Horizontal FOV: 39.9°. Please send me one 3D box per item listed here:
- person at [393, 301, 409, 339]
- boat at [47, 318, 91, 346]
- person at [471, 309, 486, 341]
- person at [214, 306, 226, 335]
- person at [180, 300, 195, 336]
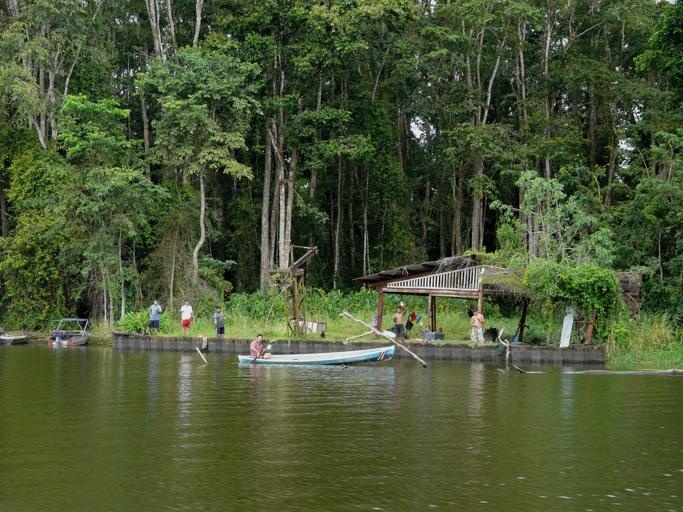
[{"bbox_3d":[3.042,3.286,48.639,0.676,1.756,1.547,-2,4,3],"label":"person"},{"bbox_3d":[-15.695,4.577,55.261,1.436,1.081,2.780,1,0,-1],"label":"boat"},{"bbox_3d":[6.803,3.441,46.916,0.607,1.580,1.736,-1,4,8],"label":"person"},{"bbox_3d":[-6.343,3.392,49.309,0.466,1.505,1.398,-2,4,-10],"label":"person"},{"bbox_3d":[-8.251,3.343,50.538,0.525,1.665,1.063,-3,4,-14],"label":"person"}]
